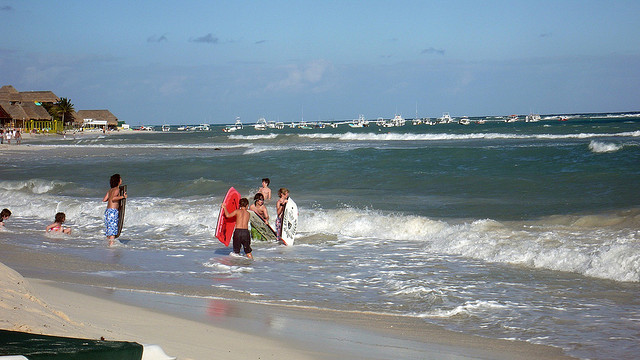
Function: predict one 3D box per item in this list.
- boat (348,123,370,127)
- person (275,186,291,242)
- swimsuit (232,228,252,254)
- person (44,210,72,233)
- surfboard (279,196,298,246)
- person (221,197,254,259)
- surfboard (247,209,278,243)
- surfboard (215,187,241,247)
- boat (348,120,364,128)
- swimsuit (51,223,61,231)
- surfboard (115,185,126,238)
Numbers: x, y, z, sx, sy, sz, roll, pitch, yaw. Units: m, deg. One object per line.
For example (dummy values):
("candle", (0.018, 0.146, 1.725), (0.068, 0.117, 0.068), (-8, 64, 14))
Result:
("boat", (7.655, -10.505, 134.150), (3.390, 0.680, 1.593), (-1, 2, -41))
("person", (-1.233, 1.060, 22.764), (0.366, 1.654, 0.593), (3, -10, -2))
("swimsuit", (-2.329, 1.804, 21.065), (0.521, 0.737, 0.533), (3, -9, -3))
("person", (-9.205, 1.484, 24.861), (0.611, 0.624, 0.465), (12, 21, 15))
("surfboard", (-1.024, 1.330, 22.880), (0.429, 1.554, 0.882), (-1, -10, 21))
("person", (-2.409, 1.422, 21.102), (0.865, 1.797, 1.067), (2, -9, 4))
("surfboard", (-1.939, 1.458, 22.629), (0.625, 0.293, 2.074), (-11, -37, 5))
("surfboard", (-2.802, 1.097, 21.534), (0.634, 1.712, 0.991), (4, -10, -8))
("boat", (6.991, -10.852, 135.317), (4.047, 1.550, 5.000), (1, 4, 1))
("swimsuit", (-8.772, 1.548, 23.546), (0.302, 0.234, 0.084), (16, 8, -5))
("surfboard", (-6.228, 0.986, 22.108), (0.198, 1.529, 0.976), (5, -10, -15))
